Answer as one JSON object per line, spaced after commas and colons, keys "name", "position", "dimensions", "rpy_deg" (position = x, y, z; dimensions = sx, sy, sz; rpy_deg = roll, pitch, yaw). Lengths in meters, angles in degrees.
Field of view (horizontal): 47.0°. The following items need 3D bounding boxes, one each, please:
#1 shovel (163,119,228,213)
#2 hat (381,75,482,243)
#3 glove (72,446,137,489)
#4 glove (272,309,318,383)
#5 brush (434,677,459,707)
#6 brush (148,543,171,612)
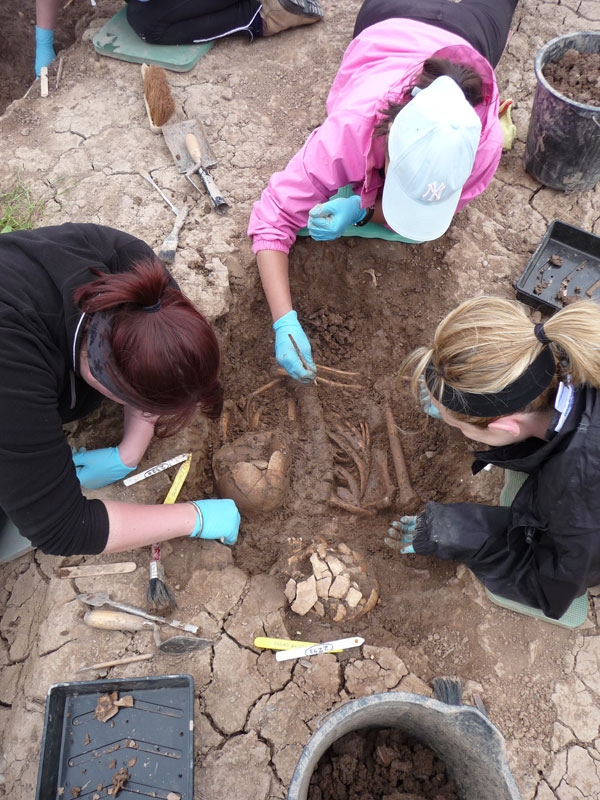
{"name": "shovel", "position": [-0.509, -1.166, 3.391], "dimensions": [0.240, 0.119, 0.609], "rpy_deg": [-22, 63, -8]}
{"name": "hat", "position": [0.498, -0.862, 2.487], "dimensions": [0.340, 0.557, 0.244], "rpy_deg": [29, 53, 30]}
{"name": "glove", "position": [-0.789, 0.277, 2.795], "dimensions": [0.173, 0.119, 0.100], "rpy_deg": [-7, 5, 36]}
{"name": "glove", "position": [-0.028, -0.239, 3.092], "dimensions": [0.198, 0.307, 0.103], "rpy_deg": [-20, 5, -7]}
{"name": "brush", "position": [0.561, 1.105, 2.620], "dimensions": [0.101, 0.103, 0.103], "rpy_deg": [-5, 71, 13]}
{"name": "brush", "position": [-0.563, 0.682, 2.677], "dimensions": [0.093, 0.273, 0.027], "rpy_deg": [-7, 18, -24]}
